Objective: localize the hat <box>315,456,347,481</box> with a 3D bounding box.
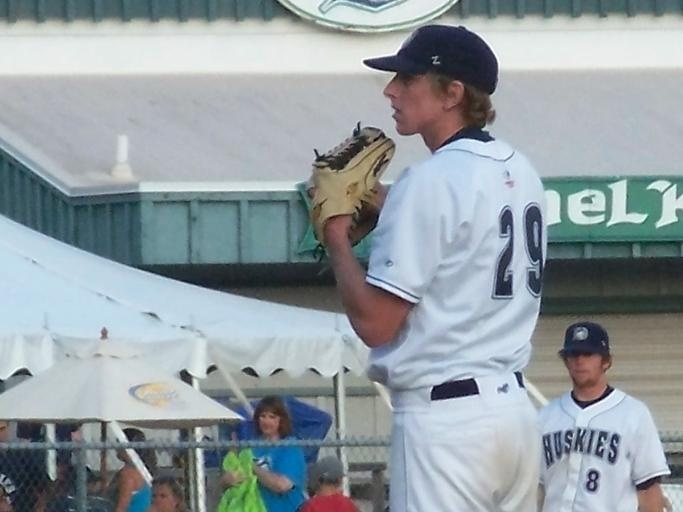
[{"bbox_3d":[-0.119,2.752,31.650,0.366,0.278,0.606,19,-6,4],"label":"hat"}]
